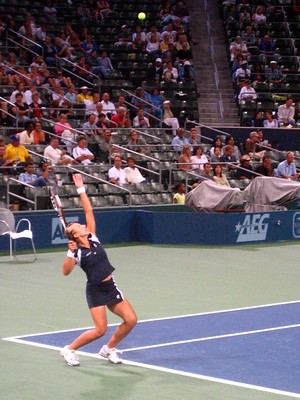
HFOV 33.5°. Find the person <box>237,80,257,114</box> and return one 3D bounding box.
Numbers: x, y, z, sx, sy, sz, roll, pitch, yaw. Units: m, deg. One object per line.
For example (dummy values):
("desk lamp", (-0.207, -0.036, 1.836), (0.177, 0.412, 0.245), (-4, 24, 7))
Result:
("person", (3.847, -4.022, 19.366), (0.775, 1.228, 0.589), (-2, 0, -4))

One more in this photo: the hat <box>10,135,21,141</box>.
("hat", (-3.218, -1.456, 11.847), (0.253, 0.131, 0.173), (-10, 15, -16))

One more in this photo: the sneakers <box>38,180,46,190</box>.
("sneakers", (-2.420, -0.331, 11.245), (0.073, 0.187, 0.147), (-16, 6, -36))

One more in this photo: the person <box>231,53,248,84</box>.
("person", (3.763, -5.404, 20.705), (0.714, 1.256, 1.248), (-2, 0, 10))

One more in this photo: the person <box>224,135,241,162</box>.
("person", (2.537, -1.519, 15.636), (0.631, 0.946, 0.542), (-4, 17, -5))

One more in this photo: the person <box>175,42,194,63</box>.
("person", (1.343, -6.001, 20.417), (0.637, 0.753, 0.827), (0, 31, -1))

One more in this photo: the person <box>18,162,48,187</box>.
("person", (-2.698, -0.570, 11.308), (0.619, 0.688, 0.528), (0, 2, 29))

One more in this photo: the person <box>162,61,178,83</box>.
("person", (0.783, -4.981, 19.600), (0.602, 0.770, 0.546), (-2, 0, 6))

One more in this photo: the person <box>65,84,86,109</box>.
("person", (-2.508, -3.314, 16.373), (0.565, 0.870, 0.920), (-17, 24, -40))

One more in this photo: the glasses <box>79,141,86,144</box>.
("glasses", (-1.797, -1.528, 13.331), (0.091, 0.066, 0.115), (0, -2, -41))

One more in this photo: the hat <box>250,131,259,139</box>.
("hat", (3.436, -2.123, 16.466), (0.277, 0.249, 0.209), (14, 5, -1))

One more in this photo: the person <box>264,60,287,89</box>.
("person", (5.221, -5.002, 20.668), (0.787, 1.511, 0.918), (-5, 6, -11))

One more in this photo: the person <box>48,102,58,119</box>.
("person", (-2.945, -2.696, 15.232), (0.277, 0.579, 0.958), (-2, 0, -13))

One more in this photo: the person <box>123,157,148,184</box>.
("person", (-0.446, -0.812, 13.433), (0.720, 0.768, 0.680), (4, 14, 27))

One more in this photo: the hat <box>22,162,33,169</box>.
("hat", (-2.741, -0.760, 11.207), (0.142, 0.155, 0.171), (-2, 2, -38))

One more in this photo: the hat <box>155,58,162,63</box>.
("hat", (0.348, -5.426, 19.539), (0.229, 0.167, 0.340), (4, -13, 9))

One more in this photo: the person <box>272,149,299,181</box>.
("person", (3.894, -0.995, 14.546), (0.798, 0.899, 0.880), (-4, 9, -42))

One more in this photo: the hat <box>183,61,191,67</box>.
("hat", (1.486, -5.315, 19.510), (0.197, 0.124, 0.258), (0, -2, 38))

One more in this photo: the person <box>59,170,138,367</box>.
("person", (-0.456, 0.591, 4.203), (0.645, 1.596, 0.672), (-2, 0, -5))

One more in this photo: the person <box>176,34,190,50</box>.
("person", (1.315, -6.492, 20.604), (0.561, 0.813, 0.845), (3, 21, -2))

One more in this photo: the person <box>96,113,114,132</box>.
("person", (-1.356, -2.355, 15.186), (0.552, 0.726, 0.530), (5, 15, 28))

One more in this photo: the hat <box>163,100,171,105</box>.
("hat", (0.554, -3.403, 17.431), (0.224, 0.097, 0.316), (-1, 1, -22))

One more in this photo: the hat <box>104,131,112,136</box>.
("hat", (-1.212, -1.848, 13.915), (0.149, 0.087, 0.190), (-1, -7, -23))

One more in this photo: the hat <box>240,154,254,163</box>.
("hat", (2.894, -1.206, 14.845), (0.335, 0.151, 0.367), (6, -26, 5))

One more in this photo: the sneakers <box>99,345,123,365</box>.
("sneakers", (-0.336, 1.311, 4.272), (0.227, 0.096, 0.111), (25, 1, 27))

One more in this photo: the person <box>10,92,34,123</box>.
("person", (-3.663, -2.643, 14.347), (0.705, 0.873, 0.636), (12, 21, 43))

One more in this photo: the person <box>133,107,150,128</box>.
("person", (-0.297, -2.632, 16.446), (0.502, 0.619, 0.765), (-2, 0, 27))

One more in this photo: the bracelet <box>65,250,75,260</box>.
("bracelet", (-0.624, 0.435, 3.945), (0.061, 0.074, 0.080), (20, -11, -3))

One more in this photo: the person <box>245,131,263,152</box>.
("person", (3.467, -1.926, 16.667), (0.716, 0.933, 0.714), (0, 8, 18))

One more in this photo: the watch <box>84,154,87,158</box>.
("watch", (-1.734, -1.163, 13.361), (0.027, 0.081, 0.063), (-4, 8, -21))

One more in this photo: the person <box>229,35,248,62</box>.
("person", (3.859, -6.552, 21.756), (1.008, 1.089, 1.078), (-18, 24, -37))

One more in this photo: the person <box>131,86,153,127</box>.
("person", (-0.280, -3.343, 17.459), (0.699, 1.275, 0.735), (-11, 8, 9))

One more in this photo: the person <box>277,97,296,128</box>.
("person", (5.160, -3.278, 18.838), (0.633, 1.116, 0.760), (-2, 0, 14))
